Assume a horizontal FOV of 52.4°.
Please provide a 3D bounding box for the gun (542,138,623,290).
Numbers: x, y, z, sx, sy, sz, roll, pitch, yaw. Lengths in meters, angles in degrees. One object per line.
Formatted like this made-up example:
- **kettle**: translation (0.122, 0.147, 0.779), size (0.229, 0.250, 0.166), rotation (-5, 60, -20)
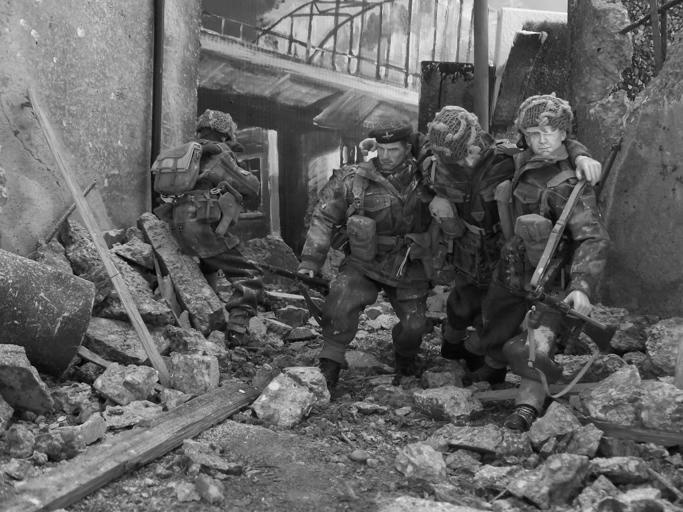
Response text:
- **gun**: translation (1.654, -0.279, 4.779), size (0.203, 1.193, 0.106), rotation (19, 5, -35)

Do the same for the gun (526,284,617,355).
- **gun**: translation (1.530, 0.438, 4.683), size (0.648, 0.354, 0.131), rotation (33, -20, -3)

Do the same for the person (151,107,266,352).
- **person**: translation (-1.080, -0.311, 6.244), size (0.981, 1.842, 0.886), rotation (13, 23, 25)
